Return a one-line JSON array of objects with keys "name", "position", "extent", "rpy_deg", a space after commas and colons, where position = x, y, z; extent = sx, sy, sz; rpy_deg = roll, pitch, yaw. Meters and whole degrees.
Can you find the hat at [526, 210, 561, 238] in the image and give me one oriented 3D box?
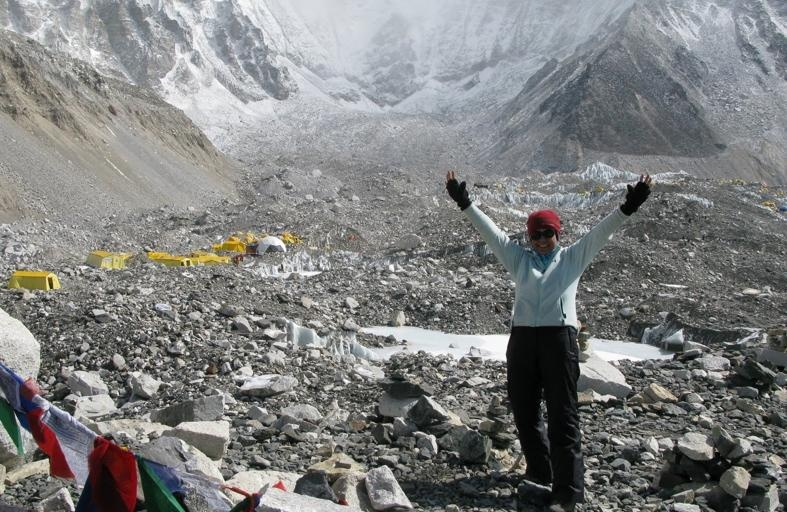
[{"name": "hat", "position": [2.505, -0.537, 12.666], "extent": [0.406, 0.406, 0.520], "rpy_deg": [-6, -28, 23]}]
